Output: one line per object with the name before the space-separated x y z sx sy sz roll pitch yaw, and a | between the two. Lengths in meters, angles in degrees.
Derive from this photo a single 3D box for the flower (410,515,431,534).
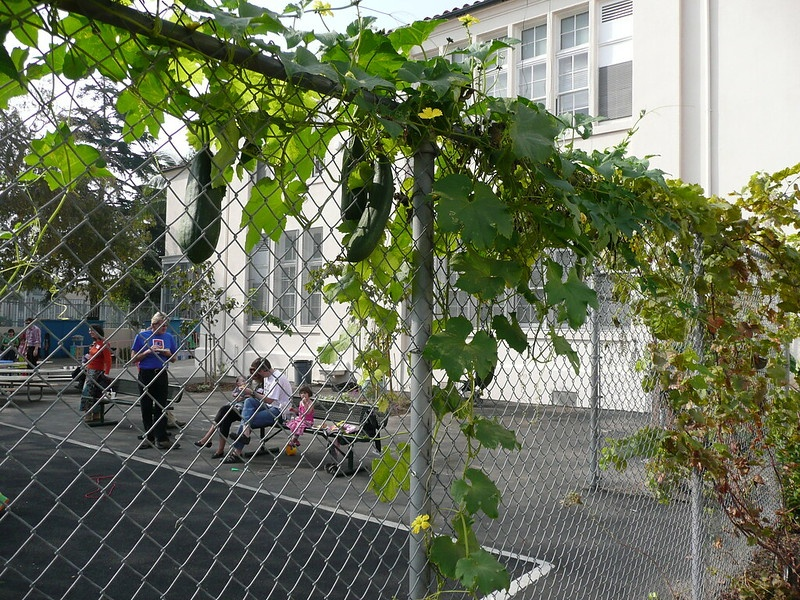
flower | 0.083 0.897 3.061 0.077 0.079 0.058 10 -22 10

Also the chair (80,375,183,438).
chair | -2.559 0.942 7.345 1.349 0.539 0.461 0 -8 35
